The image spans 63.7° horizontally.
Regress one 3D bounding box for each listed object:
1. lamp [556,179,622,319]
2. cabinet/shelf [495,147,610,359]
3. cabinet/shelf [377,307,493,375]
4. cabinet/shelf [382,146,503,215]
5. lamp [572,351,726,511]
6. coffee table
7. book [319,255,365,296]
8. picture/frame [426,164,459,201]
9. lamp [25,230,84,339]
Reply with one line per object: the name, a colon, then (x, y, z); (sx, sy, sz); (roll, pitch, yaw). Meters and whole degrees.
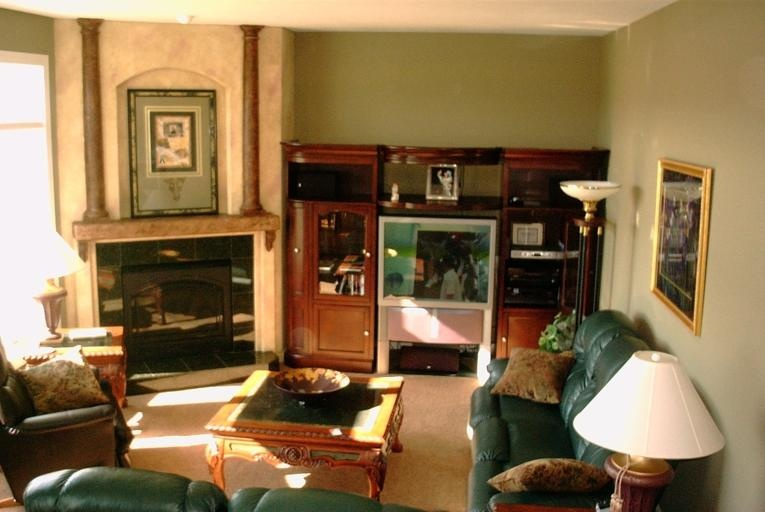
lamp: (2.056, -0.054, 6.152); (0.527, 1.395, 0.914); (3, 9, 21)
cabinet/shelf: (1.823, 0.179, 6.801); (1.125, 2.510, 0.754); (2, 7, 16)
cabinet/shelf: (0.588, 0.961, 7.343); (1.348, 0.812, 0.708); (2, -8, -2)
cabinet/shelf: (0.655, -0.879, 6.999); (1.504, 0.723, 0.560); (4, 17, 3)
lamp: (1.443, 0.810, 3.354); (0.740, 0.475, 0.278); (3, 9, 24)
coffee table: (-0.547, 1.799, 5.431); (1.370, 0.624, 1.028); (3, 15, 11)
book: (-0.441, 0.193, 7.060); (0.475, 0.416, 0.152); (1, 8, 7)
picture/frame: (0.690, -0.843, 6.940); (0.429, 0.468, 0.035); (1, 0, 6)
lamp: (-3.006, 0.250, 5.738); (0.450, 1.019, 0.453); (-3, 9, -13)
